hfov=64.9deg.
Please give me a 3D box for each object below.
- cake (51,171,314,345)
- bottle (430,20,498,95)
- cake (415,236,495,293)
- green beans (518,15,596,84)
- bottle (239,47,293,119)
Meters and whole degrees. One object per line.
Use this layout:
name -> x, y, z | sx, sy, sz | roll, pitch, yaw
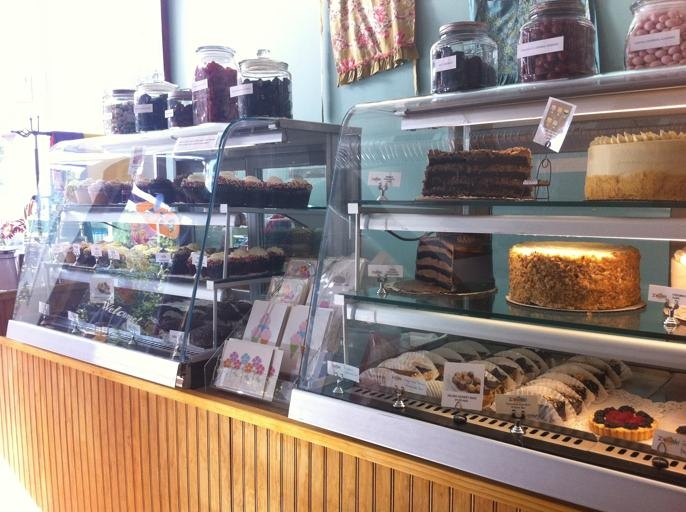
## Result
cake -> -0.790, -0.037, 2.546 | 1.311, 0.614, 0.752 | 4, 4, 32
bottle -> 0.464, -0.756, 2.197 | 0.308, 0.266, 0.284 | 1, 9, 20
cake -> 0.399, 0.024, 1.914 | 0.220, 0.149, 0.220 | -1, 1, -42
green beans -> 0.780, -0.707, 2.028 | 0.282, 0.256, 0.284 | 1, 7, 31
bottle -> -0.396, -0.834, 2.667 | 0.210, 0.370, 0.276 | -12, 21, -26
